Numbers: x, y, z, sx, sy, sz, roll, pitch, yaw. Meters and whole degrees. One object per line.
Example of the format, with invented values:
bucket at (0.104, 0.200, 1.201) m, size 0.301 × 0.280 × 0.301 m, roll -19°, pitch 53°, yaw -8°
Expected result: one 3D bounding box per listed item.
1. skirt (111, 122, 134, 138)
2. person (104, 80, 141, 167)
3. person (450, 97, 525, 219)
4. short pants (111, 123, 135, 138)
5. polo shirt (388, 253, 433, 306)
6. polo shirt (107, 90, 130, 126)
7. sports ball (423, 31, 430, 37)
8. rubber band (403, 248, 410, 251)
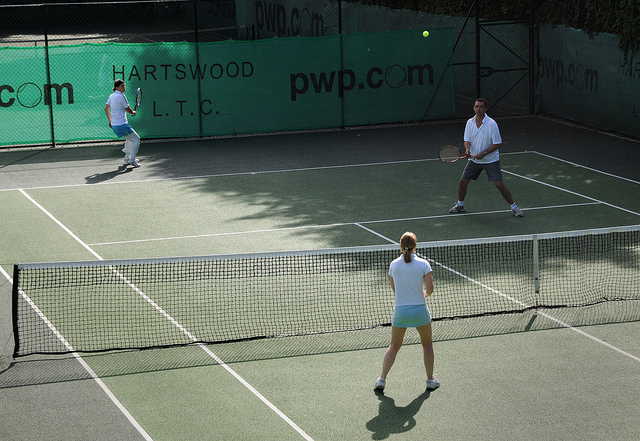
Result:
skirt at (-5.443, -2.581, 16.105) m, size 0.516 × 0.372 × 0.404 m, roll 1°, pitch -25°, yaw 20°
person at (-5.492, -2.683, 16.148) m, size 0.795 × 2.293 × 1.173 m, roll -8°, pitch 19°, yaw -20°
person at (3.341, -1.222, 11.784) m, size 1.376 × 2.508 × 0.984 m, roll 7°, pitch 25°, yaw 32°
short pants at (-5.452, -2.521, 16.090) m, size 0.492 × 0.336 × 0.423 m, roll 6°, pitch -20°, yaw 6°
polo shirt at (0.977, 0.636, 6.372) m, size 0.495 × 0.595 × 0.306 m, roll -4°, pitch 4°, yaw 16°
polo shirt at (-5.567, -3.108, 16.001) m, size 0.602 × 0.923 × 0.402 m, roll -2°, pitch 18°, yaw -1°
sports ball at (3.593, -6.312, 19.663) m, size 0.193 × 0.196 × 0.342 m, roll 2°, pitch 20°, yaw 9°
rubber band at (0.921, 0.304, 6.201) m, size 0.070 × 0.030 × 0.027 m, roll 6°, pitch 20°, yaw 18°
